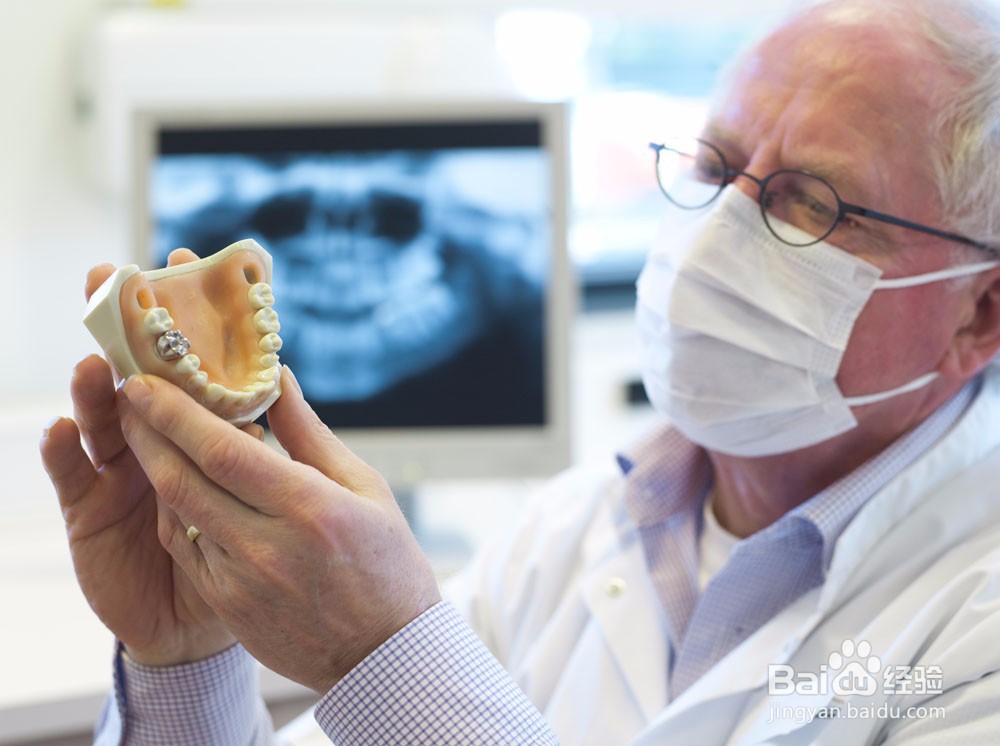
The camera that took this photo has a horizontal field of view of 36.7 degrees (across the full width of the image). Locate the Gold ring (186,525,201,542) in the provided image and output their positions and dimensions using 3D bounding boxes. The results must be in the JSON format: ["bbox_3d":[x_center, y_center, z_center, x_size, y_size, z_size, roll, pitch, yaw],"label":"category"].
[{"bbox_3d":[-0.374,0.198,1.859,0.017,0.022,0.005,0,15,9],"label":"Gold ring"}]

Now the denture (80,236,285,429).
[{"bbox_3d":[-0.380,-0.044,1.887,0.236,0.199,0.159,-17,45,-10],"label":"denture"}]
